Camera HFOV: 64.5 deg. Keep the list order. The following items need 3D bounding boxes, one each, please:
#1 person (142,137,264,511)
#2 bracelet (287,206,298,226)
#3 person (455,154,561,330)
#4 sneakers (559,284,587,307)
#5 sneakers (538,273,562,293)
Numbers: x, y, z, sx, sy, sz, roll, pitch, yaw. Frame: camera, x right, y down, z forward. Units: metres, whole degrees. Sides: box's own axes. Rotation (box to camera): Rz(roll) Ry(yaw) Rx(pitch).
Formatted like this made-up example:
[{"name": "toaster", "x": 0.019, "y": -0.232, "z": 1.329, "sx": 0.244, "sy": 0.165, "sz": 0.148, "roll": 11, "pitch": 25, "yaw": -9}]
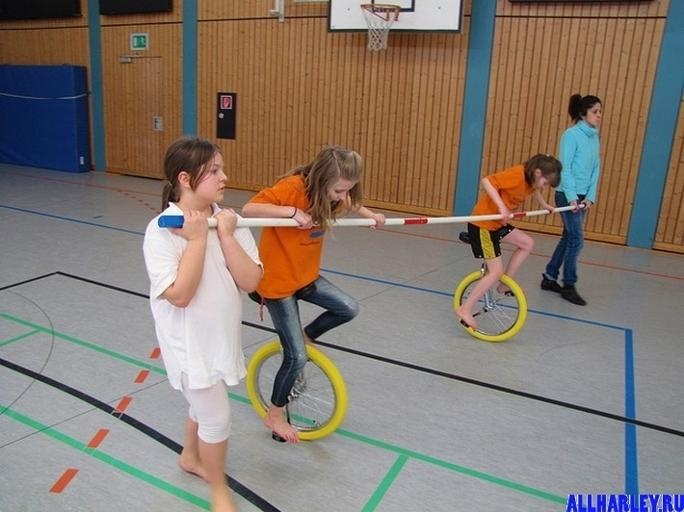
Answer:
[{"name": "person", "x": -0.630, "y": 0.364, "z": 2.575, "sx": 0.526, "sy": 1.765, "sz": 0.594, "roll": -3, "pitch": 20, "yaw": -20}, {"name": "bracelet", "x": -0.246, "y": -0.203, "z": 2.818, "sx": 0.063, "sy": 0.091, "sz": 0.056, "roll": -1, "pitch": 19, "yaw": -14}, {"name": "person", "x": 1.363, "y": -0.131, "z": 4.515, "sx": 0.614, "sy": 1.463, "sz": 1.018, "roll": 11, "pitch": 20, "yaw": 20}, {"name": "sneakers", "x": 2.242, "y": 0.385, "z": 5.308, "sx": 0.110, "sy": 0.204, "sz": 0.281, "roll": -31, "pitch": 30, "yaw": -24}, {"name": "sneakers", "x": 2.146, "y": 0.276, "z": 5.615, "sx": 0.264, "sy": 0.184, "sz": 0.103, "roll": 2, "pitch": 13, "yaw": 26}]
